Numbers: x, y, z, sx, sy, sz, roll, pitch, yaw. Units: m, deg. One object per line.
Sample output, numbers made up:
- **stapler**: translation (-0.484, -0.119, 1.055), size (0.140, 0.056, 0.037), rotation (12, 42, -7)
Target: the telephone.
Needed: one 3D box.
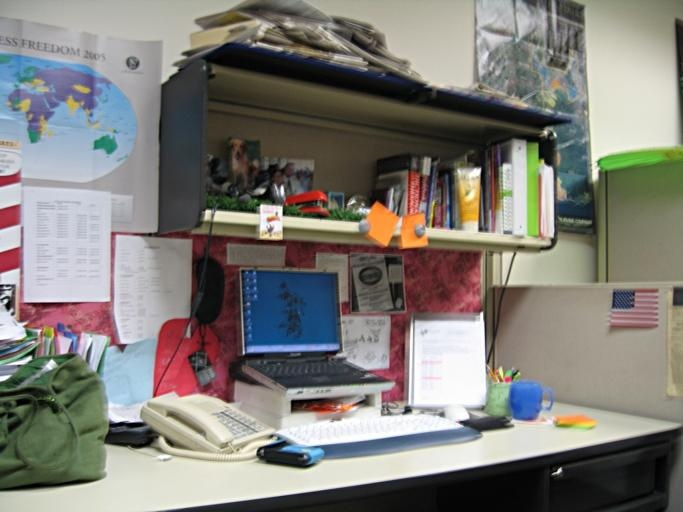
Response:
- **telephone**: translation (-0.352, 0.421, 1.441), size (0.208, 0.070, 0.160), rotation (5, 0, 29)

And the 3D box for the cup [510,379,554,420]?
- **cup**: translation (0.598, 0.458, 1.810), size (0.138, 0.121, 0.104), rotation (0, -3, 2)

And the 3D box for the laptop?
- **laptop**: translation (-0.089, 0.195, 1.818), size (0.441, 0.432, 0.409), rotation (2, -1, -36)

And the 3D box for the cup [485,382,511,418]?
- **cup**: translation (0.515, 0.476, 1.899), size (0.100, 0.115, 0.104), rotation (1, 1, 0)

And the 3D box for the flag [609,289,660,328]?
- **flag**: translation (0.944, 0.167, 1.829), size (0.123, 0.127, 0.123), rotation (-2, -5, 40)

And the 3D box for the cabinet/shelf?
- **cabinet/shelf**: translation (0.128, -0.282, 1.894), size (1.365, 0.493, 0.461), rotation (2, -1, -37)
